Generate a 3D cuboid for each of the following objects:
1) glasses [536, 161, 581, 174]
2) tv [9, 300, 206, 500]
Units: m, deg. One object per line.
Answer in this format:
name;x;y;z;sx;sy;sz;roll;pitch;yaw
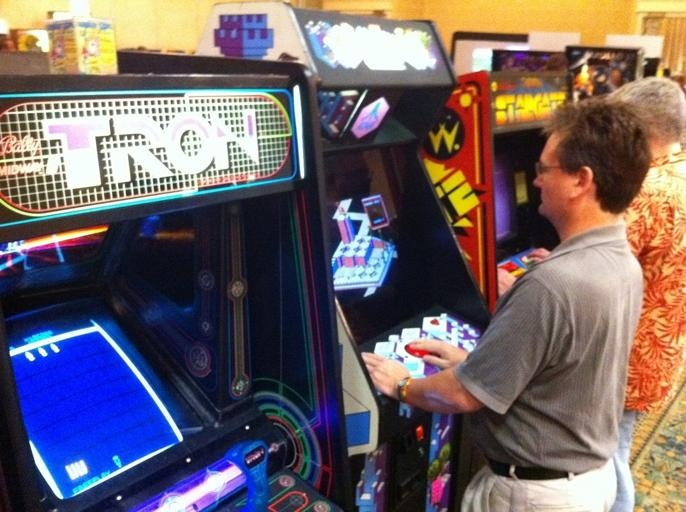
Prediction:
glasses;0.673;-0.278;1.629;0.068;0.018;0.066;5;21;8
tv;-0.808;0.434;1.588;0.422;0.150;0.568;-26;78;-42
